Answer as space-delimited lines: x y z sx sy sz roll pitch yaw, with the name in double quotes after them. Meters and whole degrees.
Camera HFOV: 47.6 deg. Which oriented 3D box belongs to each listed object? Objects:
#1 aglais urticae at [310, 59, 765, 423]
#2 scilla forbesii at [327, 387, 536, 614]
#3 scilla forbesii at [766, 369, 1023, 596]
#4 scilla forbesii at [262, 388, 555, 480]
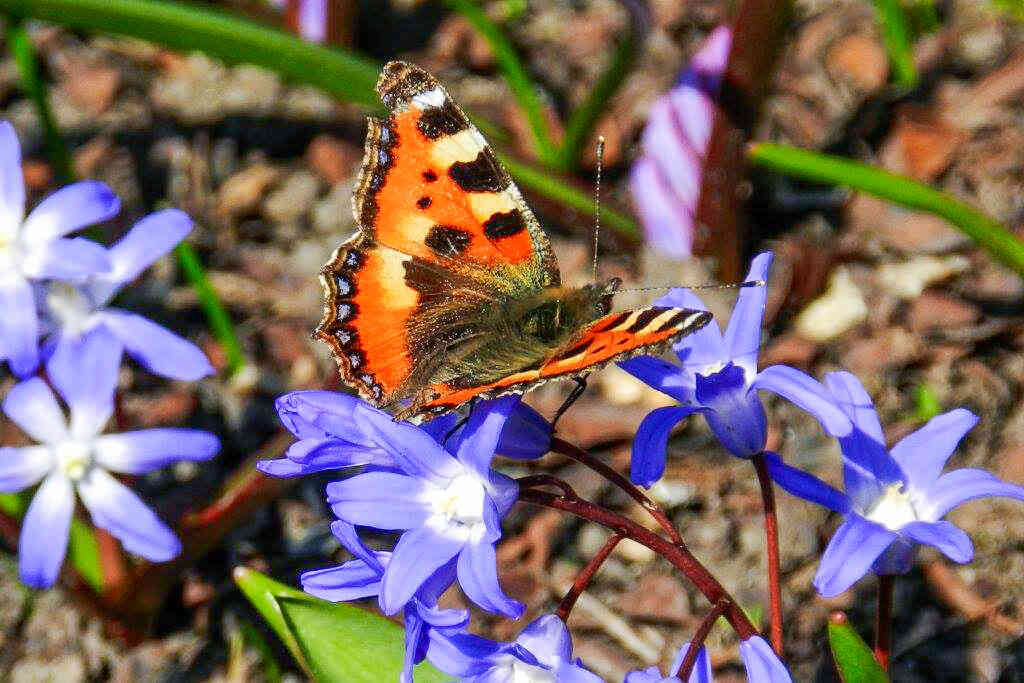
-0.052 -0.254 4.072 1.144 1.034 1.412 12 103 7 "aglais urticae"
-0.257 0.505 3.455 0.552 0.205 0.623 -3 78 2 "scilla forbesii"
1.101 0.438 3.463 0.683 0.340 0.704 24 59 28 "scilla forbesii"
-0.317 0.289 3.635 0.188 0.754 0.283 7 97 42 "scilla forbesii"
